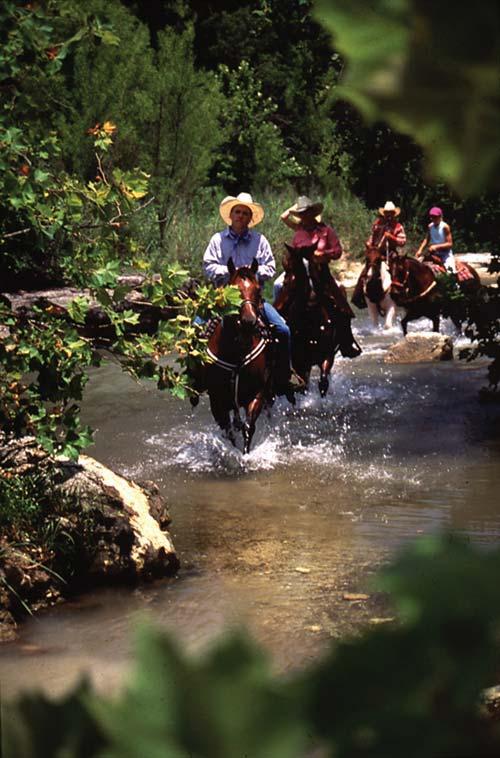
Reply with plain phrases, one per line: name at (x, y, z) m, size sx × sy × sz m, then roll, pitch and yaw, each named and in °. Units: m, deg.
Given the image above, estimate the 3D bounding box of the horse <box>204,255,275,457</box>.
horse at (-0.123, -0.197, 8.868) m, size 0.834 × 2.350 × 1.851 m, roll 0°, pitch 11°, yaw 2°

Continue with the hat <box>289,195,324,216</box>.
hat at (0.962, -2.908, 12.444) m, size 0.427 × 0.202 × 0.475 m, roll -19°, pitch -14°, yaw 17°

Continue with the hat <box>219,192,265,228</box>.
hat at (-0.108, -2.280, 10.173) m, size 0.614 × 0.314 × 0.761 m, roll 5°, pitch -33°, yaw -5°
